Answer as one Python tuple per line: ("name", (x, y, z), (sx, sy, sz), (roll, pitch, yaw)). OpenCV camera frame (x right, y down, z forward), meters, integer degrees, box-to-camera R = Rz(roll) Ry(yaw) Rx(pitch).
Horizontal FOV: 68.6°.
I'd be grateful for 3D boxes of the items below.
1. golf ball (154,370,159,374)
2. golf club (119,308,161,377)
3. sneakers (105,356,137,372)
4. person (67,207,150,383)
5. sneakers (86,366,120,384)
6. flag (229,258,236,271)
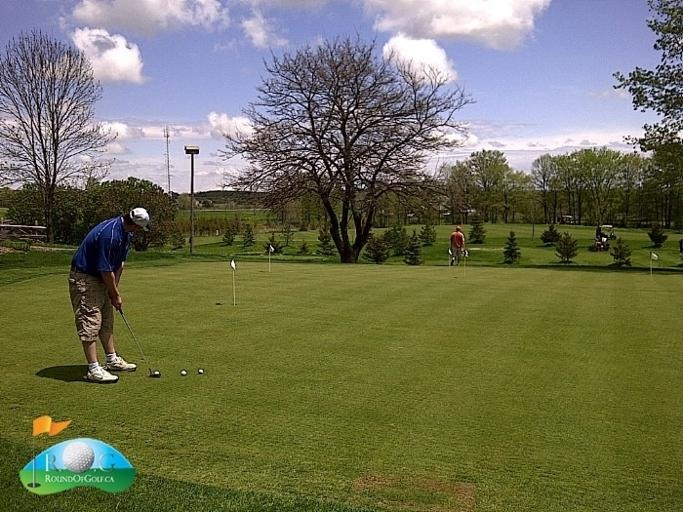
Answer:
("golf ball", (-2.298, 1.441, 6.245), (0.043, 0.044, 0.055), (2, 1, 1))
("golf club", (-3.017, 1.303, 7.495), (0.136, 0.828, 0.171), (-31, -3, 26))
("sneakers", (-2.858, 1.386, 6.541), (0.469, 0.202, 0.169), (4, -2, -5))
("person", (-2.988, 0.428, 6.411), (0.835, 2.079, 0.999), (-3, 8, -29))
("sneakers", (-2.921, 1.409, 6.064), (0.455, 0.189, 0.239), (1, 7, 0))
("flag", (-3.298, 0.249, 15.149), (0.162, 0.416, 0.135), (-2, -7, 9))
